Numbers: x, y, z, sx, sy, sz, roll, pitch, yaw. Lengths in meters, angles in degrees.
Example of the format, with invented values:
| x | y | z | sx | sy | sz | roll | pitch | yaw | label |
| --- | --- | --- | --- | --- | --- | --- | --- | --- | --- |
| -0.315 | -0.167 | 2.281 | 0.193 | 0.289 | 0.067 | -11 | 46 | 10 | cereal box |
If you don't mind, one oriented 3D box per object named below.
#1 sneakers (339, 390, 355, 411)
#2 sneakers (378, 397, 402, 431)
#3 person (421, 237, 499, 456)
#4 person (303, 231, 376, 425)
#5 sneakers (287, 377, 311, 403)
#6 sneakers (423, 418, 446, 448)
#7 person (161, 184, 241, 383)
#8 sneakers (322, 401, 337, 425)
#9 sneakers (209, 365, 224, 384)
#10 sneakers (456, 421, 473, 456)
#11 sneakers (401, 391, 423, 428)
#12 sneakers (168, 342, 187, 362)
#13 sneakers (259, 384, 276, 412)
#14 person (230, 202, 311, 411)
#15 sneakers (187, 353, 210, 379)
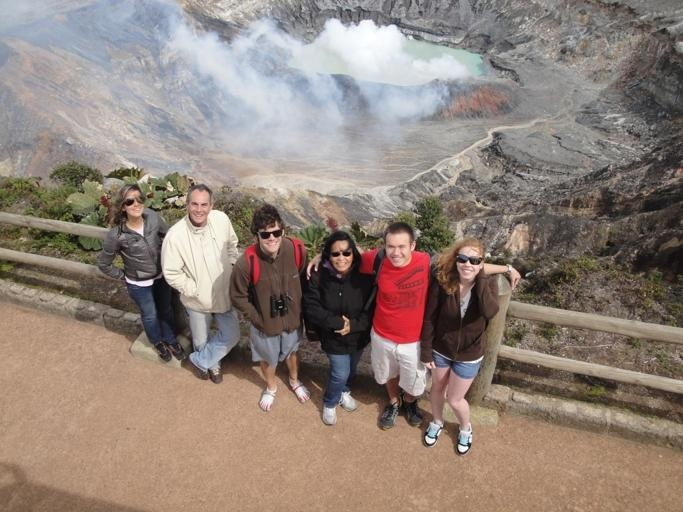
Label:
| x | y | z | sx | sy | sz | roll | pitch | yaw | label |
| --- | --- | --- | --- | --- | --- | --- | --- | --- | --- |
| 0.085 | 1.847 | 5.526 | 0.283 | 0.113 | 0.147 | 34 | 58 | 27 | sneakers |
| 0.632 | 1.936 | 5.475 | 0.171 | 0.198 | 0.433 | 29 | 37 | 8 | sneakers |
| 1.268 | 1.056 | 4.877 | 0.798 | 2.473 | 0.752 | 11 | 32 | 12 | person |
| -0.015 | 0.877 | 5.183 | 0.880 | 2.258 | 0.693 | -6 | 16 | -20 | person |
| -0.543 | 1.733 | 5.665 | 0.167 | 0.099 | 0.363 | -23 | 63 | -29 | sneakers |
| 1.118 | 2.087 | 5.259 | 0.150 | 0.158 | 0.393 | 19 | 50 | 31 | sneakers |
| -1.802 | 0.412 | 5.636 | 1.016 | 2.660 | 0.831 | -10 | 26 | -36 | person |
| -0.154 | 1.965 | 5.414 | 0.141 | 0.109 | 0.272 | -3 | 35 | -7 | sneakers |
| -1.677 | 1.595 | 5.779 | 0.133 | 0.260 | 0.101 | -24 | -1 | -8 | sneakers |
| 1.456 | 2.175 | 5.167 | 0.155 | 0.145 | 0.364 | 3 | 32 | 17 | sneakers |
| 0.873 | 1.943 | 5.450 | 0.186 | 0.215 | 0.469 | -15 | 58 | -11 | sneakers |
| -2.270 | 1.303 | 6.003 | 0.118 | 0.349 | 0.145 | -48 | 19 | -30 | sneakers |
| -0.964 | 1.824 | 5.578 | 0.131 | 0.136 | 0.335 | 14 | 26 | -14 | sneakers |
| -0.846 | 0.675 | 5.206 | 0.902 | 2.544 | 0.753 | -3 | 32 | -10 | person |
| -1.895 | 1.465 | 5.754 | 0.119 | 0.360 | 0.151 | -34 | 1 | 6 | sneakers |
